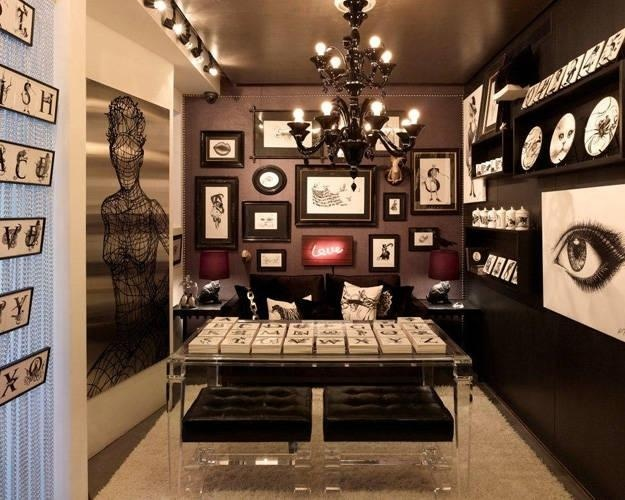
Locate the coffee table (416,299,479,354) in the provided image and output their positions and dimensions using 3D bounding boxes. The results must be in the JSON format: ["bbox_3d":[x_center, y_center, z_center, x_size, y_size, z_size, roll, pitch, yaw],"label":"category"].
[{"bbox_3d":[1.391,0.729,5.009,0.521,0.574,0.556,0,0,2],"label":"coffee table"}]

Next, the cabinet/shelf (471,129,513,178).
[{"bbox_3d":[1.567,-0.814,4.324,0.211,0.357,0.783,0,3,7],"label":"cabinet/shelf"}]

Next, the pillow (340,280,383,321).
[{"bbox_3d":[0.475,0.515,4.805,0.284,0.316,0.124,1,-34,9],"label":"pillow"}]

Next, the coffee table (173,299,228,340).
[{"bbox_3d":[-1.123,0.646,5.016,0.504,0.527,0.407,0,-1,-4],"label":"coffee table"}]

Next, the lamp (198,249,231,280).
[{"bbox_3d":[-1.000,0.155,5.042,0.271,0.314,0.278,2,-1,-4],"label":"lamp"}]

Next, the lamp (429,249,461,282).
[{"bbox_3d":[1.379,0.151,5.069,0.281,0.271,0.289,-2,6,-30],"label":"lamp"}]
